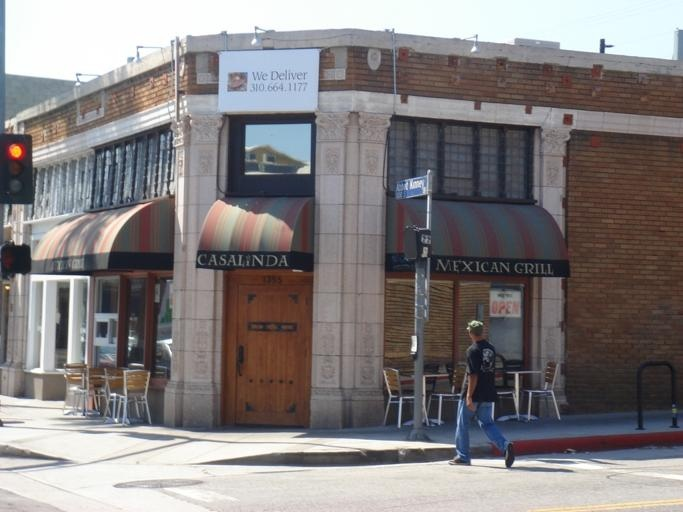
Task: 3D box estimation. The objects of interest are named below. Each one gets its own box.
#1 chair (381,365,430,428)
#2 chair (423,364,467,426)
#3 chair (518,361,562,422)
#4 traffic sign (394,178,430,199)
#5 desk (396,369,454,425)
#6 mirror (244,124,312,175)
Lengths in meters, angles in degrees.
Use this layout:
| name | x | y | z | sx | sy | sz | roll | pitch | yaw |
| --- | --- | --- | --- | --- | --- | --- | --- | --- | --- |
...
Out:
| name | x | y | z | sx | sy | sz | roll | pitch | yaw |
| --- | --- | --- | --- | --- | --- | --- | --- | --- | --- |
| chair | 1.208 | 3.059 | 35.752 | 0.654 | 1.322 | 1.099 | -2 | -10 | 2 |
| chair | 2.289 | 3.053 | 36.240 | 0.877 | 1.207 | 0.899 | 1 | -1 | -25 |
| chair | 4.426 | 3.004 | 36.807 | 0.882 | 1.235 | 0.831 | -1 | -1 | -22 |
| traffic sign | 1.475 | -1.381 | 34.351 | 0.215 | 0.395 | 1.192 | 4 | -11 | -28 |
| desk | 1.829 | 3.080 | 36.091 | 1.232 | 1.102 | 1.176 | 0 | 3 | -2 |
| mirror | -1.400 | -2.285 | 36.443 | 1.481 | 1.123 | 0.205 | -3 | -10 | 6 |
